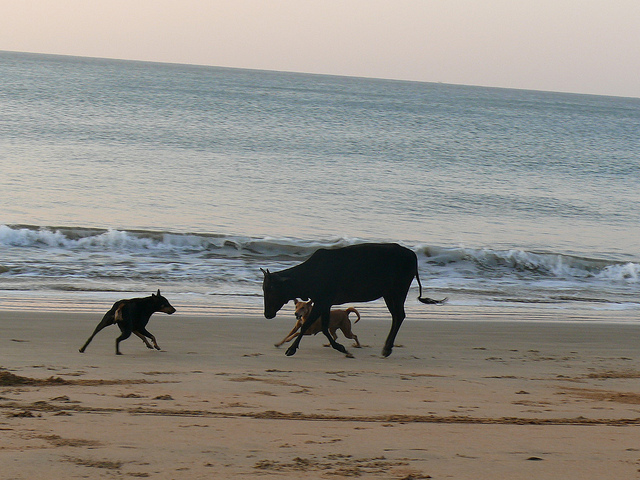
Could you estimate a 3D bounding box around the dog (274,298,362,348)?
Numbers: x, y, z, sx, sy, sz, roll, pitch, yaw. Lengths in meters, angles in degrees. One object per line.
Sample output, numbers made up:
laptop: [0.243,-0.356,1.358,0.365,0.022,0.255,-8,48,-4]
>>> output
dog: [-0.093,2.536,40.095,1.059,1.039,3.288,-9,-11,41]

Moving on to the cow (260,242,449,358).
cow: [0.562,1.706,39.694,4.033,3.328,0.742,6,-7,2]
